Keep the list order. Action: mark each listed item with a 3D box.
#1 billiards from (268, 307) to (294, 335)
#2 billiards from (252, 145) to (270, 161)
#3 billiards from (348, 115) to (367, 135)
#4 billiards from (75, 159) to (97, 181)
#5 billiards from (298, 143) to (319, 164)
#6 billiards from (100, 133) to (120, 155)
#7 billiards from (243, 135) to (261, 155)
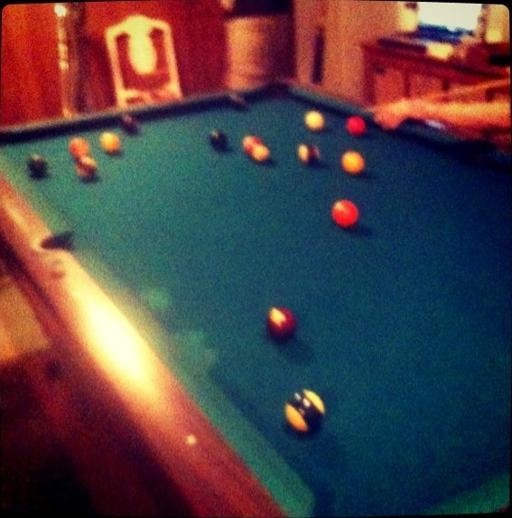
[{"bbox_3d":[0.070,0.168,1.344,0.053,0.057,0.071,-3,15,1],"label":"billiards"},{"bbox_3d":[0.023,-0.387,1.892,0.053,0.068,0.035,4,-6,-7],"label":"billiards"},{"bbox_3d":[0.421,-0.544,2.057,0.059,0.082,0.045,-17,-23,1],"label":"billiards"},{"bbox_3d":[-0.628,-0.334,1.862,0.064,0.095,0.048,-12,-13,-18],"label":"billiards"},{"bbox_3d":[0.200,-0.388,1.902,0.060,0.086,0.052,-5,8,41],"label":"billiards"},{"bbox_3d":[-0.575,-0.456,1.986,0.060,0.099,0.058,-2,-36,-12],"label":"billiards"},{"bbox_3d":[-0.017,-0.445,1.967,0.037,0.076,0.066,-12,-4,31],"label":"billiards"}]
